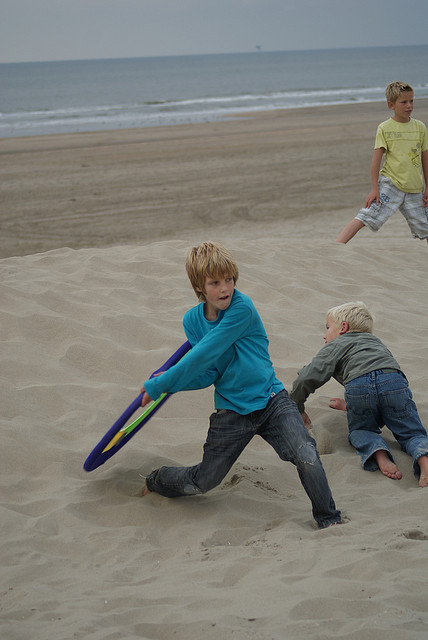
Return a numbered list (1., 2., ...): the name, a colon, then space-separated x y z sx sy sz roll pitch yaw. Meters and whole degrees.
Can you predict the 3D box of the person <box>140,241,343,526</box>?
1. person: 0.055 0.308 3.313 0.946 1.348 0.465 -6 11 10
